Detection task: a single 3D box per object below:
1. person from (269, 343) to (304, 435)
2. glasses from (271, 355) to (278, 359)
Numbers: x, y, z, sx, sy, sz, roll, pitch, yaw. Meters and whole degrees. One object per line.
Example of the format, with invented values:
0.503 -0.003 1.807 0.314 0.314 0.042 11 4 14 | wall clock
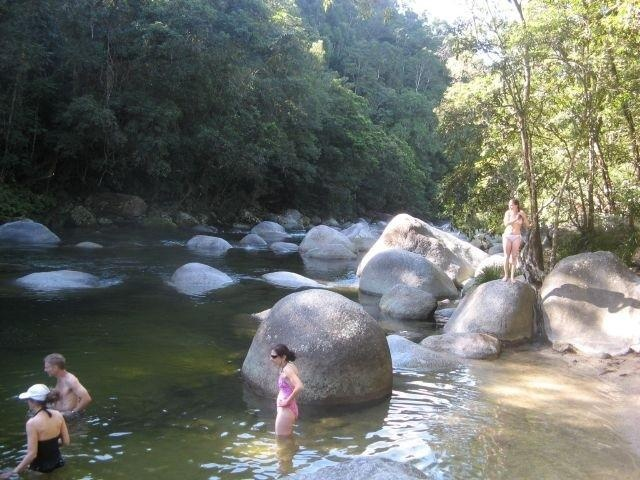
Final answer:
-0.440 1.934 6.652 0.369 1.129 0.453 1 10 -7 | person
-0.587 1.514 6.648 0.052 0.053 0.071 -11 -3 11 | glasses
